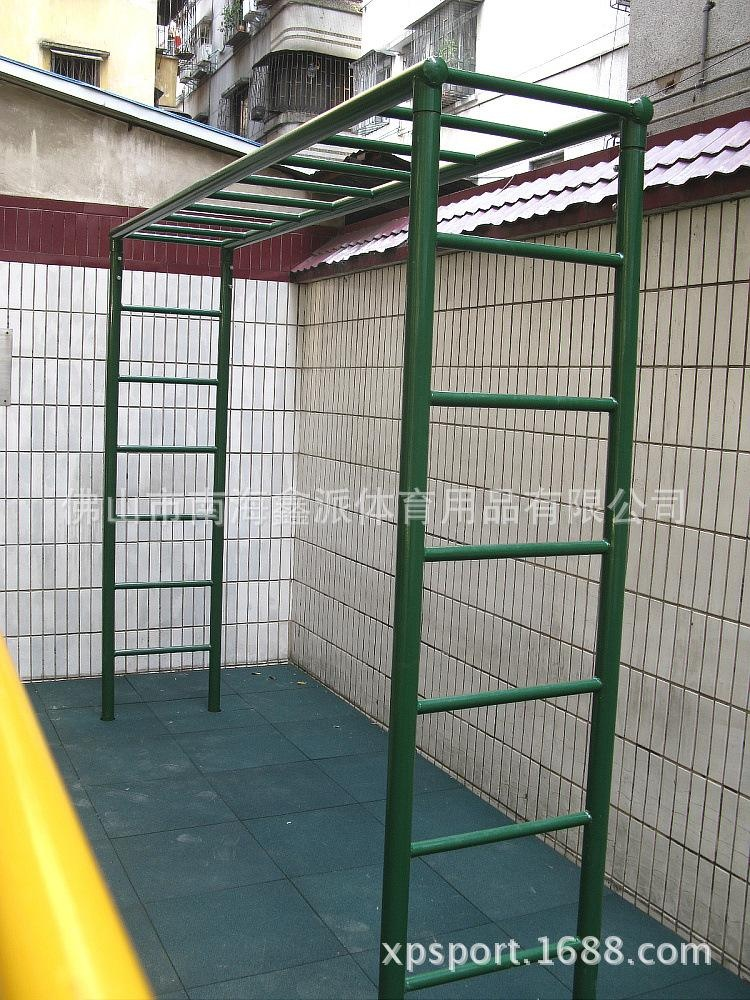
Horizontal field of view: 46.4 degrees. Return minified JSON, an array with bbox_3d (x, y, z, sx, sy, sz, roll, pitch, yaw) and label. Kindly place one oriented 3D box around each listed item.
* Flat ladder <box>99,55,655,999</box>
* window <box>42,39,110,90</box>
[{"bbox_3d":[-0.065,0.103,2.767,0.516,2.255,2.326,-4,20,-24],"label":"Flat ladder"},{"bbox_3d":[-4.207,-6.137,12.312,0.859,0.427,0.236,0,5,-24],"label":"window"}]
